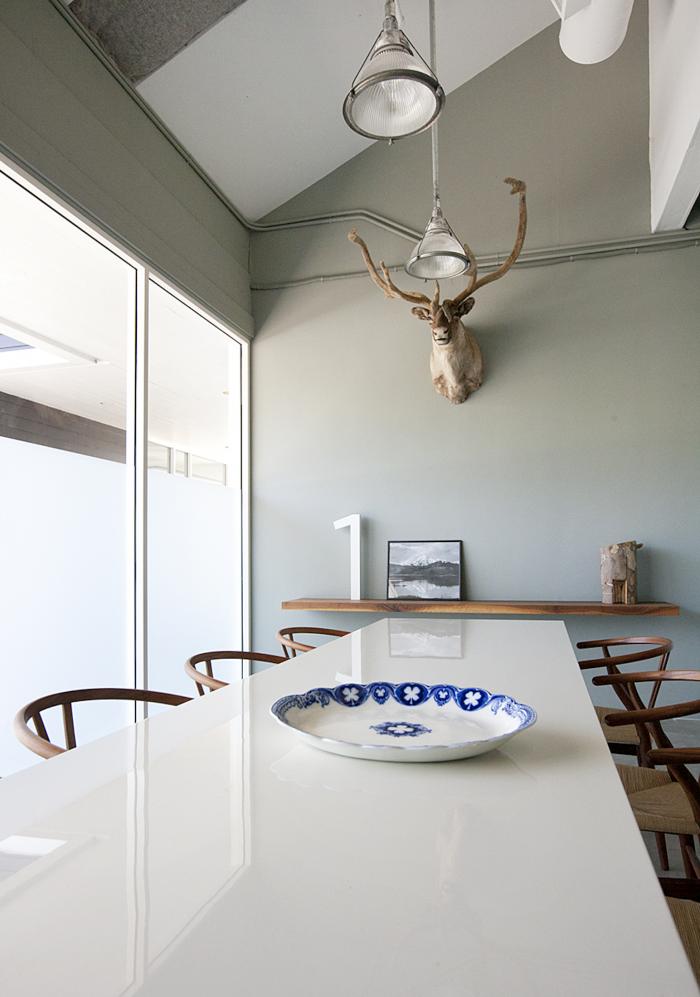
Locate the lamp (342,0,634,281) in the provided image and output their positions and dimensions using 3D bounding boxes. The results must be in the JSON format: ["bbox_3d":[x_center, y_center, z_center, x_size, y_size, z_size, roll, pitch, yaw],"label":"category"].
[{"bbox_3d":[0.714,-1.640,3.351,1.376,1.443,0.688,-5,-31,17],"label":"lamp"}]

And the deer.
[{"bbox_3d":[0.470,-0.907,3.485,0.781,0.988,0.554,4,15,31],"label":"deer"}]
